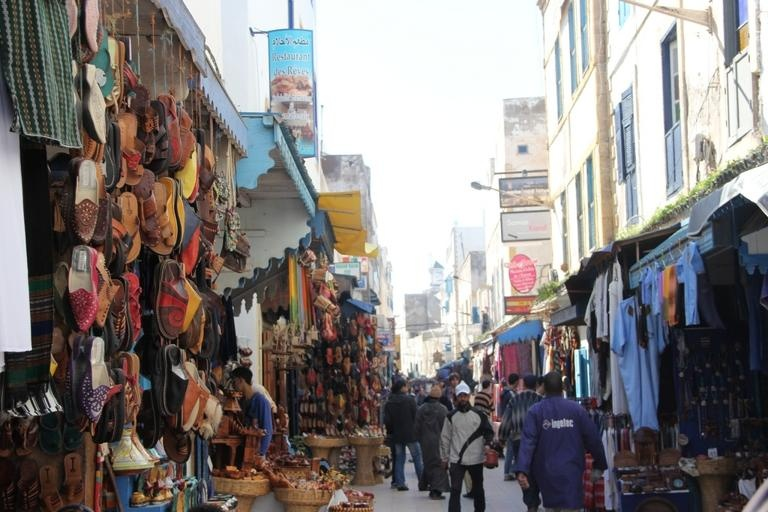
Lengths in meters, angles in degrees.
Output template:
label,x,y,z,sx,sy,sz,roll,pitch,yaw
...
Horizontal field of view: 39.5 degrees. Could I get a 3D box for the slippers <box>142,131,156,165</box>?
label,x,y,z,sx,sy,sz,roll,pitch,yaw
slippers,-1.865,-0.859,8.546,0.111,0.222,0.067,-1,3,-39

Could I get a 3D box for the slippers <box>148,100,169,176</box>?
label,x,y,z,sx,sy,sz,roll,pitch,yaw
slippers,-1.747,-0.937,8.617,0.169,0.540,0.192,1,16,10

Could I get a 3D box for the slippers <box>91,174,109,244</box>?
label,x,y,z,sx,sy,sz,roll,pitch,yaw
slippers,-2.060,-0.332,7.750,0.137,0.464,0.128,-2,10,-30

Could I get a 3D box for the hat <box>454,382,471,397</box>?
label,x,y,z,sx,sy,sz,roll,pitch,yaw
hat,1.088,1.829,14.555,0.211,0.254,0.377,-2,-25,7

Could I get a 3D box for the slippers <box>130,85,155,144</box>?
label,x,y,z,sx,sy,sz,roll,pitch,yaw
slippers,-1.901,-1.119,8.475,0.092,0.411,0.217,0,6,42

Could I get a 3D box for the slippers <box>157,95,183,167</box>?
label,x,y,z,sx,sy,sz,roll,pitch,yaw
slippers,-1.714,-0.997,8.706,0.170,0.581,0.207,-2,-1,23

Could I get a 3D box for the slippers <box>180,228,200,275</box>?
label,x,y,z,sx,sy,sz,roll,pitch,yaw
slippers,-1.613,-0.028,9.013,0.068,0.343,0.186,8,-1,19

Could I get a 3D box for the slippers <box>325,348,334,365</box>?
label,x,y,z,sx,sy,sz,roll,pitch,yaw
slippers,-0.928,1.753,18.743,0.151,0.302,0.174,-1,-12,-7

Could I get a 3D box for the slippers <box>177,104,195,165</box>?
label,x,y,z,sx,sy,sz,roll,pitch,yaw
slippers,-1.644,-0.982,8.944,0.118,0.426,0.146,-2,9,-21

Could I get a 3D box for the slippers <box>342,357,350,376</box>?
label,x,y,z,sx,sy,sz,roll,pitch,yaw
slippers,-0.650,1.945,18.763,0.126,0.293,0.063,2,-10,-3

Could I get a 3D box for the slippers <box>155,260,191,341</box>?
label,x,y,z,sx,sy,sz,roll,pitch,yaw
slippers,-1.707,0.344,8.681,0.224,0.676,0.230,-1,2,-37

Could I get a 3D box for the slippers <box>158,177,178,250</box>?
label,x,y,z,sx,sy,sz,roll,pitch,yaw
slippers,-1.732,-0.342,8.694,0.160,0.506,0.123,-2,12,-13

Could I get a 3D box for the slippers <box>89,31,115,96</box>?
label,x,y,z,sx,sy,sz,roll,pitch,yaw
slippers,-2.097,-1.415,8.021,0.051,0.442,0.141,2,11,36

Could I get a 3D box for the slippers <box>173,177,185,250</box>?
label,x,y,z,sx,sy,sz,roll,pitch,yaw
slippers,-1.665,-0.343,8.777,0.099,0.450,0.157,0,3,16

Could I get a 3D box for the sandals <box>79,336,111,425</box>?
label,x,y,z,sx,sy,sz,roll,pitch,yaw
sandals,-2.059,0.905,7.716,0.158,0.639,0.208,-1,12,-7

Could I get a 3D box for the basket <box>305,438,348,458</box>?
label,x,y,z,sx,sy,sz,roll,pitch,yaw
basket,-0.895,2.917,16.436,0.490,0.396,0.469,5,-14,-30

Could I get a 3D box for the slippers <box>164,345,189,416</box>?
label,x,y,z,sx,sy,sz,roll,pitch,yaw
slippers,-1.685,1.010,8.693,0.147,0.566,0.198,0,1,20

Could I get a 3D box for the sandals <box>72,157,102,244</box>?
label,x,y,z,sx,sy,sz,roll,pitch,yaw
sandals,-2.117,-0.391,7.666,0.164,0.601,0.195,-3,13,-20

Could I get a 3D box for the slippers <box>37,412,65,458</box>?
label,x,y,z,sx,sy,sz,roll,pitch,yaw
slippers,-2.665,1.426,8.589,0.149,0.424,0.105,-2,-5,-11

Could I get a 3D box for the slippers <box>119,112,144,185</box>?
label,x,y,z,sx,sy,sz,roll,pitch,yaw
slippers,-1.961,-0.826,8.319,0.128,0.533,0.190,1,1,30

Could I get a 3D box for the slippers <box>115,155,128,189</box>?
label,x,y,z,sx,sy,sz,roll,pitch,yaw
slippers,-2.001,-0.628,8.225,0.061,0.234,0.108,0,-4,5

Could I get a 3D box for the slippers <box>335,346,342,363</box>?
label,x,y,z,sx,sy,sz,roll,pitch,yaw
slippers,-0.773,1.742,18.797,0.124,0.286,0.101,1,-11,-12

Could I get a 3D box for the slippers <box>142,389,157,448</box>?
label,x,y,z,sx,sy,sz,roll,pitch,yaw
slippers,-1.872,1.322,8.757,0.138,0.464,0.149,3,12,17

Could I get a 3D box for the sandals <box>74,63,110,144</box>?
label,x,y,z,sx,sy,sz,roll,pitch,yaw
sandals,-2.098,-1.097,7.723,0.101,0.515,0.262,-5,-14,11

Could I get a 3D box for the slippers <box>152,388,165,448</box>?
label,x,y,z,sx,sy,sz,roll,pitch,yaw
slippers,-1.844,1.321,8.812,0.086,0.403,0.412,0,-13,-10

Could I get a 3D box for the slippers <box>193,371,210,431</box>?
label,x,y,z,sx,sy,sz,roll,pitch,yaw
slippers,-1.522,1.246,9.047,0.110,0.336,0.243,3,-7,1

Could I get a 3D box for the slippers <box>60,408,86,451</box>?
label,x,y,z,sx,sy,sz,roll,pitch,yaw
slippers,-2.389,1.332,8.237,0.121,0.401,0.137,-6,-16,-14

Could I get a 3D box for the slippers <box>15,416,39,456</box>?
label,x,y,z,sx,sy,sz,roll,pitch,yaw
slippers,-2.899,1.422,8.689,0.223,0.143,0.516,15,22,-27

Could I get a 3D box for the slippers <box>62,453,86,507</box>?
label,x,y,z,sx,sy,sz,roll,pitch,yaw
slippers,-2.473,1.790,8.554,0.162,0.379,0.089,-4,4,-31

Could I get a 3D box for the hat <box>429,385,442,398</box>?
label,x,y,z,sx,sy,sz,roll,pitch,yaw
hat,0.778,2.011,15.747,0.157,0.164,0.274,2,-2,4

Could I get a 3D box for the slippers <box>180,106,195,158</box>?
label,x,y,z,sx,sy,sz,roll,pitch,yaw
slippers,-1.635,-1.010,8.926,0.122,0.386,0.117,2,-1,8

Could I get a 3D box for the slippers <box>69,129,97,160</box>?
label,x,y,z,sx,sy,sz,roll,pitch,yaw
slippers,-2.145,-0.784,7.757,0.139,0.244,0.071,-1,11,4

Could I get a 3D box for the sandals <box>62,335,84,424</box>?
label,x,y,z,sx,sy,sz,roll,pitch,yaw
sandals,-2.202,0.831,7.695,0.148,0.129,0.542,-19,22,-6

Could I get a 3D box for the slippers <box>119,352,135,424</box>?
label,x,y,z,sx,sy,sz,roll,pitch,yaw
slippers,-1.954,0.951,8.193,0.103,0.351,0.101,-10,-6,20

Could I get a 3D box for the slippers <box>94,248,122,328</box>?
label,x,y,z,sx,sy,sz,roll,pitch,yaw
slippers,-1.993,0.250,7.824,0.139,0.522,0.186,0,16,-1

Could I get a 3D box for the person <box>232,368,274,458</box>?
label,x,y,z,sx,sy,sz,roll,pitch,yaw
person,-1.531,1.823,12.528,0.489,1.153,1.112,0,-13,-8

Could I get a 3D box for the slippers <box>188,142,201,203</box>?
label,x,y,z,sx,sy,sz,roll,pitch,yaw
slippers,-1.593,-0.695,9.130,0.115,0.434,0.106,3,7,15

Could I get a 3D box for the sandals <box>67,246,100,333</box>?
label,x,y,z,sx,sy,sz,roll,pitch,yaw
sandals,-2.129,0.230,7.622,0.167,0.623,0.181,0,10,-3

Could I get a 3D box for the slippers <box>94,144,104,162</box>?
label,x,y,z,sx,sy,sz,roll,pitch,yaw
slippers,-2.066,-0.744,7.828,0.029,0.110,0.101,2,-8,1

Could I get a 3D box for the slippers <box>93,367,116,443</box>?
label,x,y,z,sx,sy,sz,roll,pitch,yaw
slippers,-2.055,1.108,7.941,0.156,0.534,0.169,6,-3,-11
